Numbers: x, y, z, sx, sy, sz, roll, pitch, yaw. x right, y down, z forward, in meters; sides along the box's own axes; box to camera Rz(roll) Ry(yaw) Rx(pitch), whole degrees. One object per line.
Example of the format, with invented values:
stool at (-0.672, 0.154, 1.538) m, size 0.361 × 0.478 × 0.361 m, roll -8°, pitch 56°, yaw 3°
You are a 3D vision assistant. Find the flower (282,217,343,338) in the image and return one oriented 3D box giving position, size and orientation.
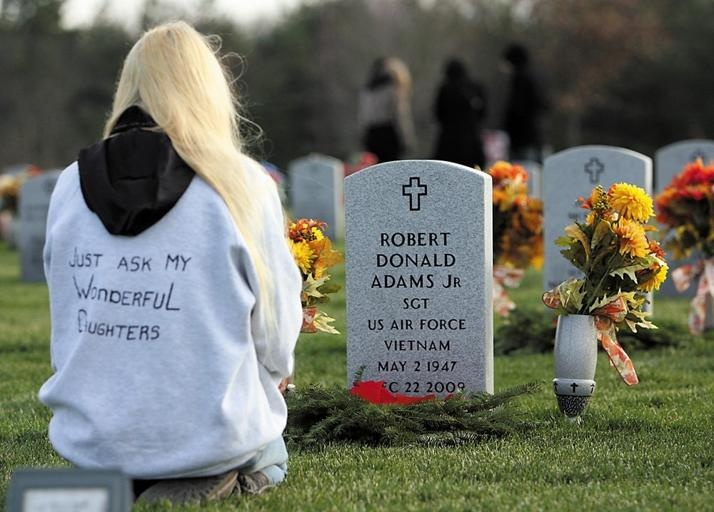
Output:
flower at (-0.858, 0.354, 35.115) m, size 0.928 × 2.098 × 0.966 m, roll 0°, pitch 11°, yaw -13°

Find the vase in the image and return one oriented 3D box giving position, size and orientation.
vase at (3.946, 1.920, 34.845) m, size 0.872 × 1.739 × 1.017 m, roll 4°, pitch 9°, yaw 1°

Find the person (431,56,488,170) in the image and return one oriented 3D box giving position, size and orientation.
person at (2.345, -3.408, 44.910) m, size 1.207 × 3.157 × 1.025 m, roll 5°, pitch 21°, yaw 12°
